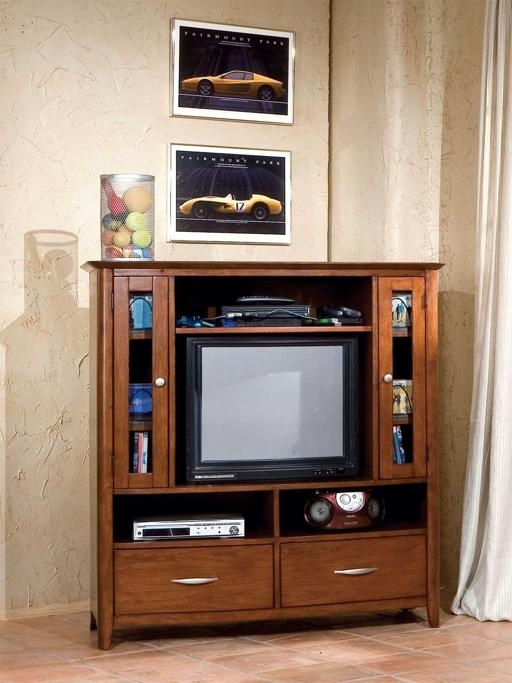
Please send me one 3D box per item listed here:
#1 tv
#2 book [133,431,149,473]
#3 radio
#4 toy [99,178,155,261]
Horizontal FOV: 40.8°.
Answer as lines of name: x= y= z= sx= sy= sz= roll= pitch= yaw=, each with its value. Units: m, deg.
tv: x=0.059 y=0.237 z=2.545 sx=0.684 sy=0.509 sz=0.343 roll=1 pitch=1 yaw=-18
book: x=-0.403 y=0.394 z=2.402 sx=0.054 sy=0.137 sz=0.148 roll=0 pitch=-1 yaw=-4
radio: x=0.337 y=0.622 z=2.535 sx=0.309 sy=0.129 sz=0.063 roll=1 pitch=-7 yaw=-10
toy: x=-0.473 y=-0.465 z=2.570 sx=0.195 sy=0.332 sz=0.129 roll=0 pitch=4 yaw=-21
